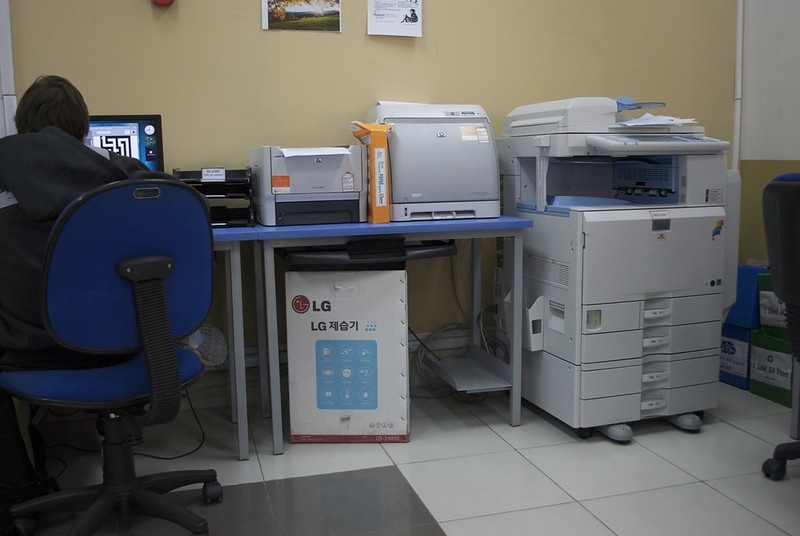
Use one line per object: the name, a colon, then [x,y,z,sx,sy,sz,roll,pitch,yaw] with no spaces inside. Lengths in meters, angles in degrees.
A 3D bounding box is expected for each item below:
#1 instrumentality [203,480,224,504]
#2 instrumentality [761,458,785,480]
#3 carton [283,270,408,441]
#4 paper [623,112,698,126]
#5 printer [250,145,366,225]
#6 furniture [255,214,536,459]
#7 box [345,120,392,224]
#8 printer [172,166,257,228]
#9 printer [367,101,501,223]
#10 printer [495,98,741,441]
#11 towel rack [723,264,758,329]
instrumentality: [-0.809,0.954,2.778,0.087,0.097,0.101,-2,12,-18]
instrumentality: [1.683,0.900,2.883,0.101,0.104,0.075,1,0,-24]
carton: [-0.262,0.396,3.373,0.640,0.888,0.504,1,12,3]
paper: [1.315,-0.731,3.236,0.258,0.063,0.412,10,21,40]
printer: [-0.436,-0.360,3.347,0.595,0.406,0.599,-4,-8,2]
furniture: [-0.050,0.374,3.290,1.072,0.959,0.463,-2,4,-16]
box: [-0.113,-0.466,3.322,0.181,0.509,0.285,-2,-2,-11]
printer: [-0.923,-0.368,3.212,0.489,0.417,0.298,-3,7,-22]
printer: [0.167,-0.583,3.519,0.638,0.610,0.681,-2,10,-6]
printer: [1.179,-0.034,3.368,1.119,1.655,0.795,-5,15,-7]
towel rack: [1.954,0.248,3.710,0.158,0.203,0.163,15,4,22]
